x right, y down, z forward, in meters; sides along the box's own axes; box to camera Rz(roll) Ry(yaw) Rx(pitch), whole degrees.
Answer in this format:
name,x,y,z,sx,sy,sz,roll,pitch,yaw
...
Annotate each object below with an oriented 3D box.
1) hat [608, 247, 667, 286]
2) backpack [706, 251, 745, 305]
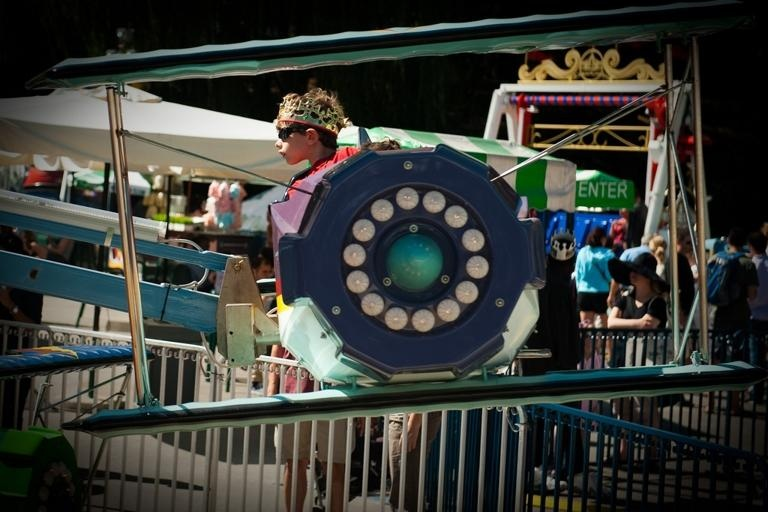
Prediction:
name,x,y,z,sx,sy,sz,roll,pitch,yaw
hat,3.280,0.212,18.544,0.563,0.238,0.418,38,-27,-3
backpack,4.682,0.324,19.695,0.385,0.740,0.506,15,-16,-14
